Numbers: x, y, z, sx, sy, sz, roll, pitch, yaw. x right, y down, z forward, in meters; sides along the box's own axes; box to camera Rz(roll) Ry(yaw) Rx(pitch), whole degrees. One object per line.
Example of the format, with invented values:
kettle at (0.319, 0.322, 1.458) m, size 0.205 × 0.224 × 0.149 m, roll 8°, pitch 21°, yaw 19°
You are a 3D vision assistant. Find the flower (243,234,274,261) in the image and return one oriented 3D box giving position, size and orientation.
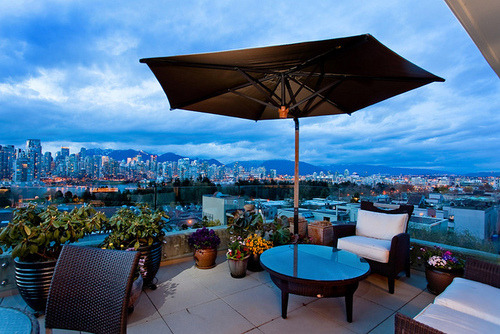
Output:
flower at (0.071, 1.753, 6.680) m, size 0.691 × 0.234 × 0.554 m, roll -1°, pitch -2°, yaw -40°

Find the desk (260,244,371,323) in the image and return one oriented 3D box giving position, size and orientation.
desk at (1.246, 2.025, 5.645) m, size 1.365 × 0.579 × 1.333 m, roll 0°, pitch 0°, yaw 2°

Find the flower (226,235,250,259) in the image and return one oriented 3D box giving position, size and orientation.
flower at (-0.218, 1.739, 6.488) m, size 0.526 × 0.362 × 0.557 m, roll -9°, pitch 0°, yaw 34°

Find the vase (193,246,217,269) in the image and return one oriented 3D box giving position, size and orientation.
vase at (-1.020, 2.055, 6.836) m, size 0.611 × 0.421 × 0.610 m, roll -2°, pitch -7°, yaw 16°

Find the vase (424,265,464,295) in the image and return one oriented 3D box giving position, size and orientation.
vase at (3.755, 2.225, 5.976) m, size 0.526 × 0.409 × 0.517 m, roll 15°, pitch 3°, yaw 20°

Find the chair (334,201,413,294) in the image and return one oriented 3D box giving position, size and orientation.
chair at (2.688, 1.585, 6.461) m, size 1.205 × 1.466 × 1.285 m, roll -3°, pitch 4°, yaw -43°

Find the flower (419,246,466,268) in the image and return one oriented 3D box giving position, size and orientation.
flower at (3.784, 1.834, 6.090) m, size 0.696 × 0.256 × 0.623 m, roll 0°, pitch 8°, yaw -6°

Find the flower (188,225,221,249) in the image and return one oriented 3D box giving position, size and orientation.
flower at (-1.002, 1.527, 6.570) m, size 0.523 × 0.368 × 0.546 m, roll 2°, pitch -3°, yaw -6°

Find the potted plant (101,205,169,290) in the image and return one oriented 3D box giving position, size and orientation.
potted plant at (-2.310, 1.654, 6.078) m, size 1.058 × 1.471 × 1.136 m, roll 12°, pitch -14°, yaw -28°

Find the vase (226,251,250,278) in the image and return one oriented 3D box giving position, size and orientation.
vase at (-0.259, 2.087, 6.407) m, size 0.462 × 0.336 × 0.432 m, roll 2°, pitch -2°, yaw -17°
